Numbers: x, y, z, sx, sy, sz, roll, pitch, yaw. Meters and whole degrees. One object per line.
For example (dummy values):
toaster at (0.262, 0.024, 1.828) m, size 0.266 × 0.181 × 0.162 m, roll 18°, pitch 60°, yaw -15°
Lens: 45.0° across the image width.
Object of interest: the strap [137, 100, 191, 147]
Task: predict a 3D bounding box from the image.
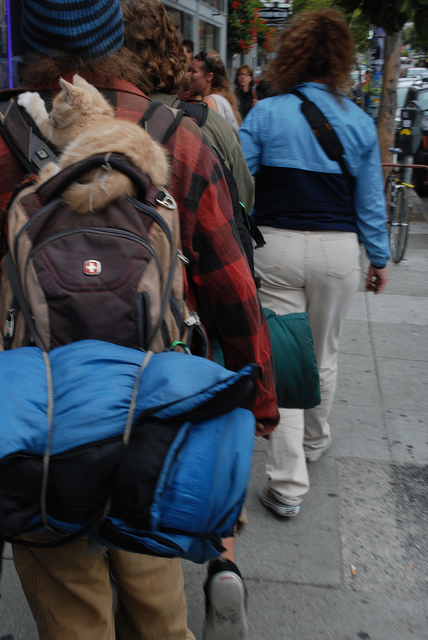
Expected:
strap at (-0.109, -0.429, 1.126) m, size 0.068 × 0.074 × 0.154 m, roll 9°, pitch 30°, yaw 9°

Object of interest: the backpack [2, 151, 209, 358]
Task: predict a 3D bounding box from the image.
backpack at (-0.229, -0.117, 0.916) m, size 0.295 × 0.330 × 0.281 m, roll 8°, pitch 30°, yaw 7°
